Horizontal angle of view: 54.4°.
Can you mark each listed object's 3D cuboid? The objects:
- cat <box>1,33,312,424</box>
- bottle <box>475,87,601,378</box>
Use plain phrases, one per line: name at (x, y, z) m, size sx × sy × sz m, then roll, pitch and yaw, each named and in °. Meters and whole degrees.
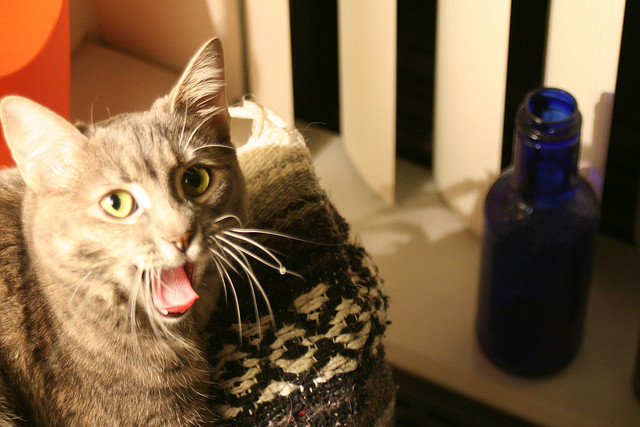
cat at (-0.179, 0.020, 0.601) m, size 0.307 × 0.329 × 0.210 m, roll -20°, pitch 31°, yaw -31°
bottle at (0.250, 0.040, 0.699) m, size 0.137 × 0.378 × 0.120 m, roll 5°, pitch 27°, yaw 15°
